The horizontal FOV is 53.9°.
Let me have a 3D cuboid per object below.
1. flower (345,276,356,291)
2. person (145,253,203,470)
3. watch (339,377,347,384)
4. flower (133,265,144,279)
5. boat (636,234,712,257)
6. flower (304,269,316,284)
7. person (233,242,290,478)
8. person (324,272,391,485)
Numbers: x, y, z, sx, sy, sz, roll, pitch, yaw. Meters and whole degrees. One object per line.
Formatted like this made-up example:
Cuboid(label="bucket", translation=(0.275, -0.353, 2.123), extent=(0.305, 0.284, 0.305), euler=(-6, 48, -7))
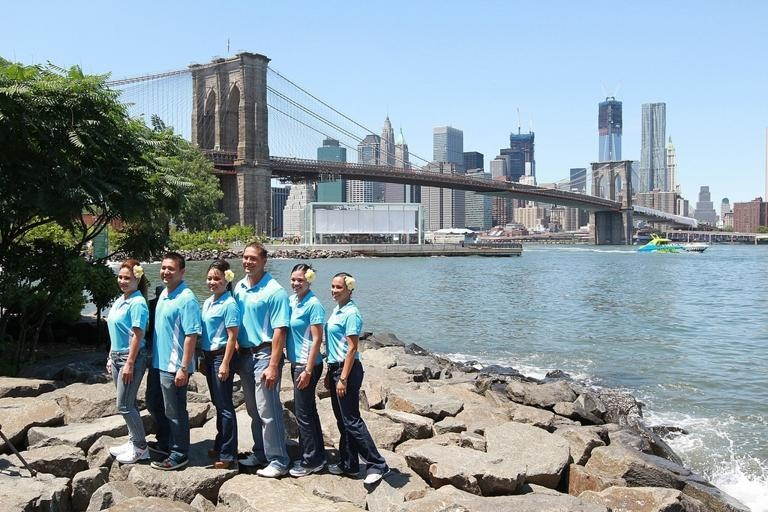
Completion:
Cuboid(label="flower", translation=(-0.512, 0.401, 11.408), extent=(0.168, 0.195, 0.225), euler=(2, 14, 2))
Cuboid(label="person", translation=(-3.244, 1.578, 11.462), extent=(0.967, 3.261, 0.537), euler=(-1, 2, 25))
Cuboid(label="watch", translation=(-0.606, 1.836, 11.192), extent=(0.097, 0.053, 0.115), euler=(0, -4, 5))
Cuboid(label="flower", translation=(-3.861, 0.247, 11.824), extent=(0.178, 0.172, 0.103), euler=(16, -24, -40))
Cuboid(label="boat", translation=(43.950, -1.644, 115.018), extent=(11.149, 3.878, 3.207), euler=(-4, 9, -18))
Cuboid(label="flower", translation=(-1.114, 0.298, 11.366), extent=(0.176, 0.187, 0.093), euler=(2, -5, -9))
Cuboid(label="person", translation=(-1.834, 1.784, 11.453), extent=(0.873, 3.094, 0.424), euler=(-1, 3, 36))
Cuboid(label="person", translation=(-0.466, 1.838, 11.423), extent=(0.905, 3.172, 0.539), euler=(-2, 2, 9))
